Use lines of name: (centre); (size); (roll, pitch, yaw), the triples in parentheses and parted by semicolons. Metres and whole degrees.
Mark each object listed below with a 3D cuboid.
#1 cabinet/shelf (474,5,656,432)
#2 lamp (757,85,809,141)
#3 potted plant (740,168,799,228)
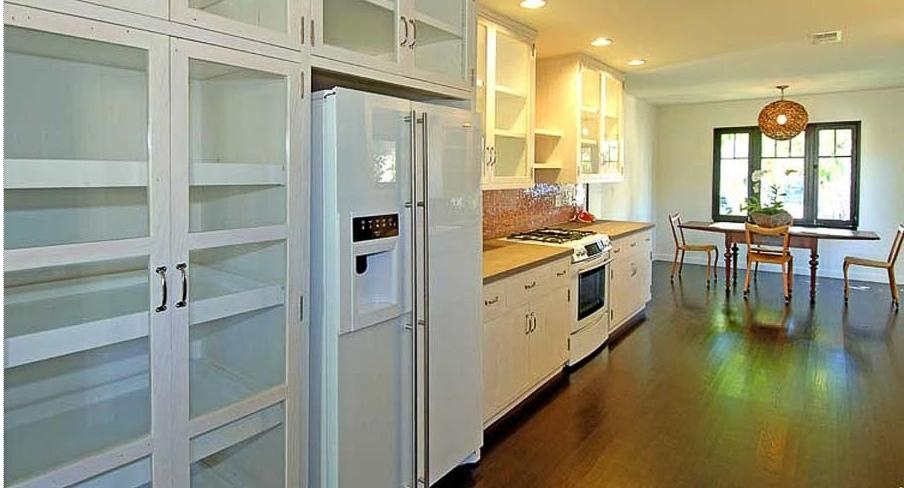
cabinet/shelf: (1.064, -0.259, 5.225); (1.026, 3.071, 3.508); (2, 7, 28)
lamp: (4.431, -1.661, 7.253); (0.525, 0.485, 0.237); (5, 12, 20)
potted plant: (4.757, -0.671, 8.121); (0.668, 0.848, 1.638); (7, 12, 27)
